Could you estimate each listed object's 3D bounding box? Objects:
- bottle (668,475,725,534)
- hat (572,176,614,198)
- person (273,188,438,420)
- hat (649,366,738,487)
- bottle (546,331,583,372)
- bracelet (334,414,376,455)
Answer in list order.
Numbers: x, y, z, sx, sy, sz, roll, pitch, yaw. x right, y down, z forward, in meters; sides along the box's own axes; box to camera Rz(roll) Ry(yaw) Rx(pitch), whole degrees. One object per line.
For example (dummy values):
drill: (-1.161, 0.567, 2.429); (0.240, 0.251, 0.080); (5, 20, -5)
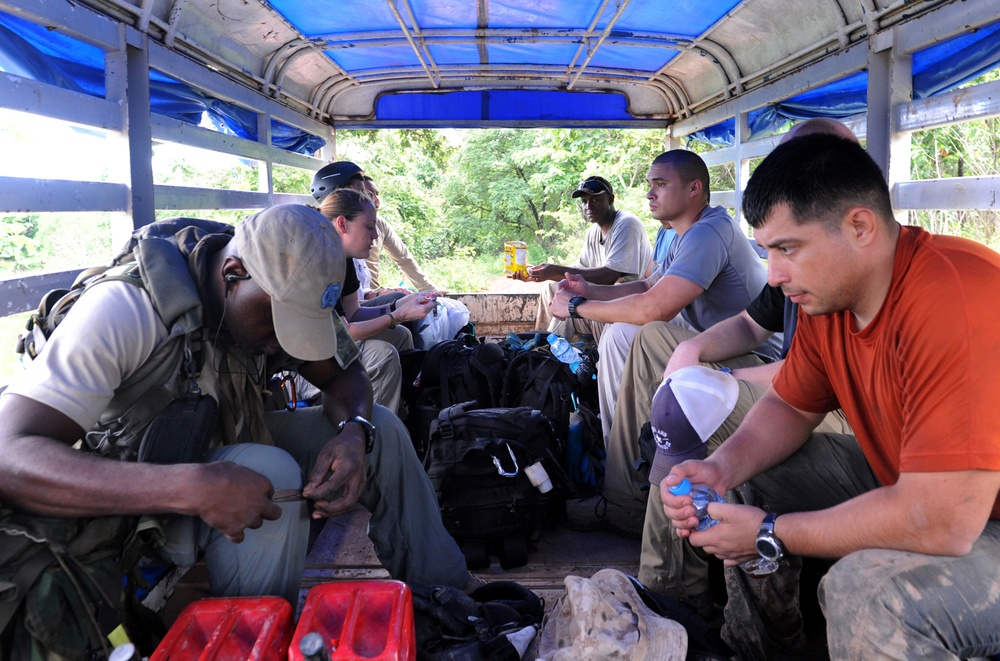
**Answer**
bottle: (0.672, 0.602, 2.157); (0.130, 0.197, 0.110); (-23, 32, 33)
hat: (0.896, -1.402, 6.069); (0.328, 0.163, 0.232); (17, -7, -33)
person: (-0.914, -0.006, 4.487); (1.076, 1.888, 0.667); (9, 19, 5)
hat: (0.700, 0.310, 2.402); (0.231, 0.462, 0.298); (28, -4, -26)
bottle: (0.413, 0.162, 4.195); (0.163, 0.278, 0.101); (-44, -5, -23)
bracelet: (-0.622, 0.428, 2.580); (0.186, 0.185, 0.116); (3, 5, -8)
